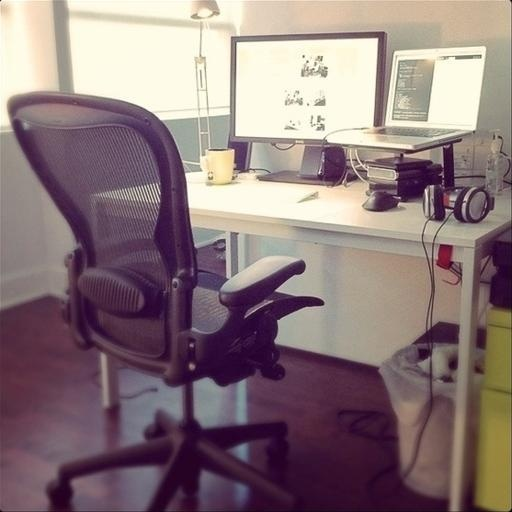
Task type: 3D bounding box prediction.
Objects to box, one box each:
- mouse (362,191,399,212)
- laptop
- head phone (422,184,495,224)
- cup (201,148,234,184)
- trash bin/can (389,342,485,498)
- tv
[{"bbox_3d":[0.350,-0.168,1.379,0.054,0.043,0.097,9,22,33],"label":"mouse"},{"bbox_3d":[0.493,-0.490,1.563,0.444,0.354,0.421,-17,23,-35],"label":"laptop"},{"bbox_3d":[0.539,-0.126,1.274,0.130,0.086,0.164,5,-2,24],"label":"head phone"},{"bbox_3d":[-0.137,-0.336,1.827,0.092,0.116,0.151,7,16,23],"label":"cup"},{"bbox_3d":[0.482,0.466,1.497,0.314,0.375,0.352,1,1,12],"label":"trash bin/can"},{"bbox_3d":[0.206,-0.558,1.779,0.553,0.531,0.264,7,17,26],"label":"tv"}]
